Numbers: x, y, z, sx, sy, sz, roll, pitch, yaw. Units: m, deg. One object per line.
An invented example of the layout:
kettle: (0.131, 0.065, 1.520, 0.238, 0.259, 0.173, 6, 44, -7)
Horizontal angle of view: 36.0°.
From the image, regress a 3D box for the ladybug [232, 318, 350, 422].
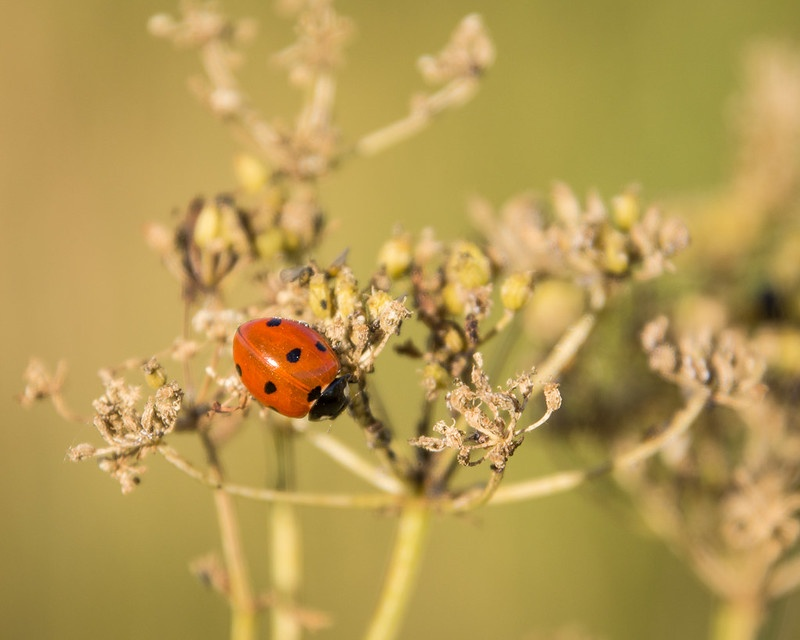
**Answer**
ladybug: (-0.216, 0.098, 2.475, 0.220, 0.183, 0.147, -9, -35, -14)
